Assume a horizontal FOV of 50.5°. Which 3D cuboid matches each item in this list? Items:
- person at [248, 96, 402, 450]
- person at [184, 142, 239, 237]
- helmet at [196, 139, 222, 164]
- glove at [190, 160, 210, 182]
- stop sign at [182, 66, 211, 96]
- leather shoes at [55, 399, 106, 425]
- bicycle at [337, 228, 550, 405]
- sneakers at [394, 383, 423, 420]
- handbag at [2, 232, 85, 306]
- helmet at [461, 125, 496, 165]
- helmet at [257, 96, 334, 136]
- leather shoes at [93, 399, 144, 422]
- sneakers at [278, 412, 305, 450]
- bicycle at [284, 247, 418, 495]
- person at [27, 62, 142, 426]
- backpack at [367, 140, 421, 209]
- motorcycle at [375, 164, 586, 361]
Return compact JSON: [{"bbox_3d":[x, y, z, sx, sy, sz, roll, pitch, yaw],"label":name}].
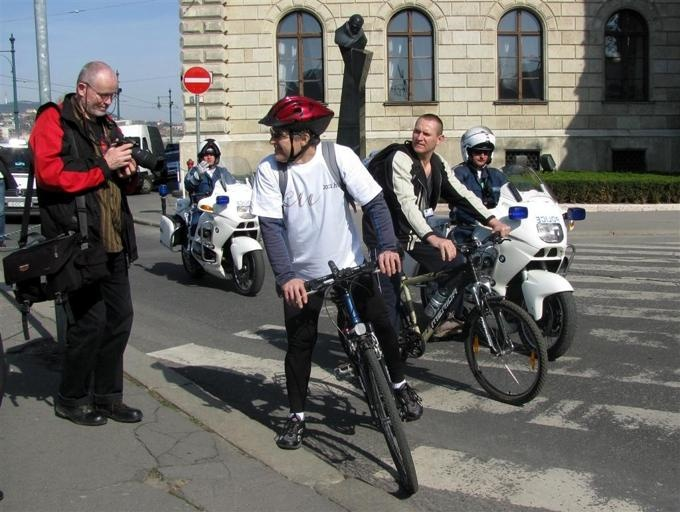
[{"bbox_3d":[-0.071,0.076,5.102,1.104,2.469,1.083,-10,10,-16],"label":"person"},{"bbox_3d":[-2.063,-1.170,11.054,0.626,0.890,1.437,4,4,-16],"label":"person"},{"bbox_3d":[-1.903,-1.559,10.454,0.387,0.414,0.287,-2,-1,-22],"label":"helmet"},{"bbox_3d":[-2.032,-1.252,10.443,0.199,0.282,0.083,23,8,1],"label":"glove"},{"bbox_3d":[-2.860,-3.519,14.387,0.482,0.574,0.748,-2,12,-15],"label":"stop sign"},{"bbox_3d":[-1.928,1.135,5.406,0.384,0.189,0.169,10,2,10],"label":"leather shoes"},{"bbox_3d":[0.823,0.522,6.441,0.855,1.390,2.415,-7,7,-37],"label":"bicycle"},{"bbox_3d":[0.519,1.104,5.440,0.160,0.150,0.320,-25,39,-9],"label":"sneakers"},{"bbox_3d":[-2.124,0.081,5.155,0.603,0.516,0.204,4,12,16],"label":"handbag"},{"bbox_3d":[1.427,-1.181,7.504,0.323,0.379,0.453,-5,25,-12],"label":"helmet"},{"bbox_3d":[-0.282,-0.966,4.953,0.378,0.175,0.287,2,5,-4],"label":"helmet"},{"bbox_3d":[-1.640,1.154,5.439,0.372,0.174,0.147,5,7,13],"label":"leather shoes"},{"bbox_3d":[-0.333,1.262,5.221,0.164,0.202,0.467,5,9,7],"label":"sneakers"},{"bbox_3d":[0.241,0.747,4.970,1.011,1.434,0.638,9,14,35],"label":"bicycle"},{"bbox_3d":[-1.815,-0.077,5.241,0.719,2.614,0.531,-4,12,-25],"label":"person"},{"bbox_3d":[0.430,-0.765,6.278,0.341,0.281,0.325,-37,-4,5],"label":"backpack"},{"bbox_3d":[1.542,-0.057,7.524,1.028,1.841,2.799,2,7,-24],"label":"motorcycle"}]
